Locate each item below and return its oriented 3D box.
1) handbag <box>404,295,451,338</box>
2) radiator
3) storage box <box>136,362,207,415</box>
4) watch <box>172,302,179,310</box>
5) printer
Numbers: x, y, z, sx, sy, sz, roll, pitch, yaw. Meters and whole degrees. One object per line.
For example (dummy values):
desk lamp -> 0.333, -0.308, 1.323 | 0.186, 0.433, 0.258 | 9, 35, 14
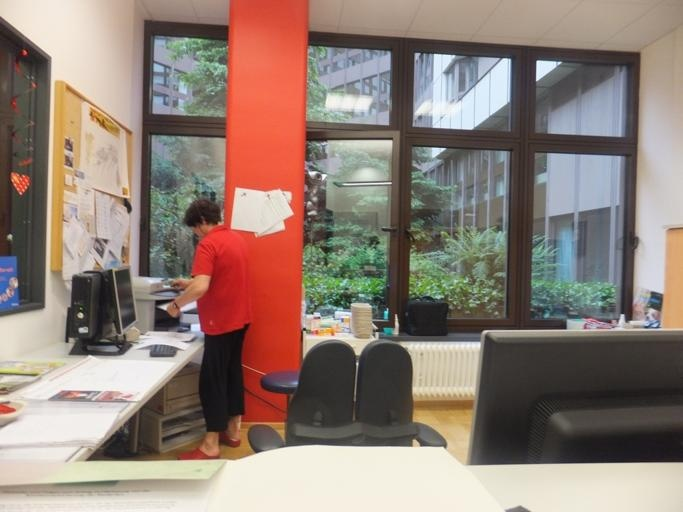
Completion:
handbag -> 0.720, 0.504, 4.743 | 0.337, 0.312, 0.314 | 0, -3, -1
radiator -> 0.836, 0.947, 4.678 | 0.756, 0.460, 0.075 | -10, -19, 43
storage box -> -1.131, 0.839, 3.863 | 0.278, 0.247, 0.402 | 0, 1, 36
watch -> -1.073, 0.323, 3.650 | 0.037, 0.018, 0.046 | 28, -28, 3
printer -> -1.337, 0.346, 4.046 | 0.354, 0.398, 0.430 | 3, 1, 17
